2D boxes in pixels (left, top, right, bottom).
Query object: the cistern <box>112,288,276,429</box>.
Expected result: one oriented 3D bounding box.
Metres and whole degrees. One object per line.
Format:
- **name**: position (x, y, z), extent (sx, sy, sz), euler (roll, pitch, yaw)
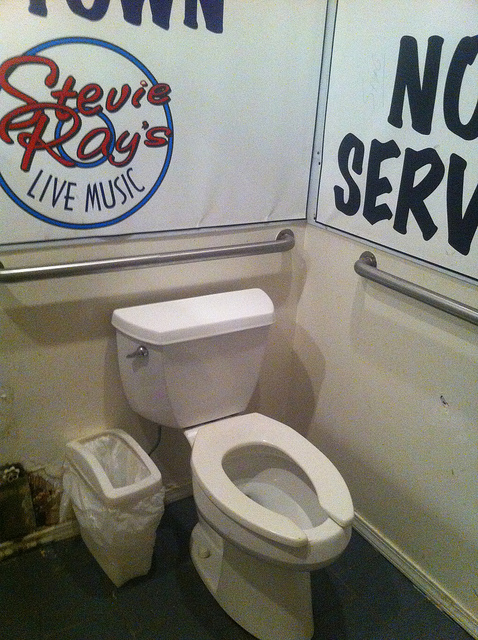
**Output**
- **cistern**: position (-0.115, 0.103, 1.327), extent (0.375, 0.305, 0.224), euler (-11, 19, -40)
